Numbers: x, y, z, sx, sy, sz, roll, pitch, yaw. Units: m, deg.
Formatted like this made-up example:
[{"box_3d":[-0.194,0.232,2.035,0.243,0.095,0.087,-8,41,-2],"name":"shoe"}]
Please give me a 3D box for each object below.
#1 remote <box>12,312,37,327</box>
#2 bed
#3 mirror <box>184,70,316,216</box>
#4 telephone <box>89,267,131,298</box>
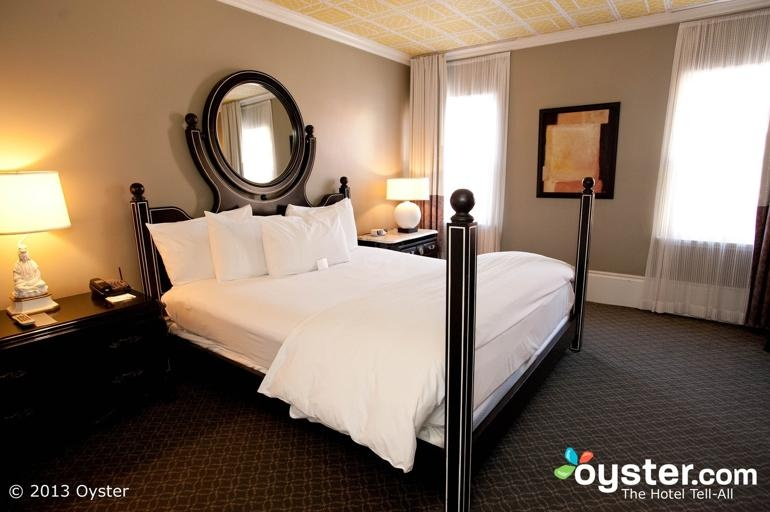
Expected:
[{"box_3d":[-2.737,0.475,3.580,0.202,0.069,0.094,16,21,34],"name":"remote"},{"box_3d":[-0.323,0.418,4.042,2.821,1.682,2.857,10,21,30],"name":"bed"},{"box_3d":[-1.455,-1.184,4.945,0.118,1.731,1.489,8,15,35],"name":"mirror"},{"box_3d":[-2.377,0.247,4.074,0.246,0.194,0.264,-5,15,-42],"name":"telephone"}]
